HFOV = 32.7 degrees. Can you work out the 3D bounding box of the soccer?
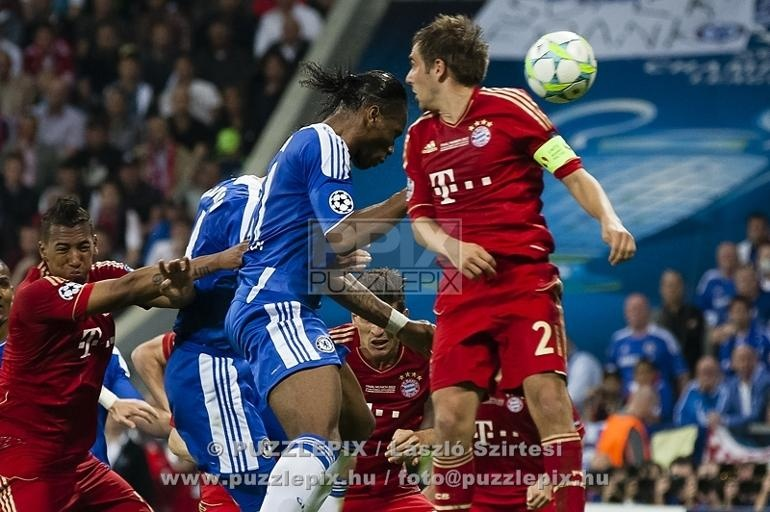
[{"bbox_3d":[1.696,-1.792,12.598,0.669,0.656,0.642,-21,5,15],"label":"soccer"}]
